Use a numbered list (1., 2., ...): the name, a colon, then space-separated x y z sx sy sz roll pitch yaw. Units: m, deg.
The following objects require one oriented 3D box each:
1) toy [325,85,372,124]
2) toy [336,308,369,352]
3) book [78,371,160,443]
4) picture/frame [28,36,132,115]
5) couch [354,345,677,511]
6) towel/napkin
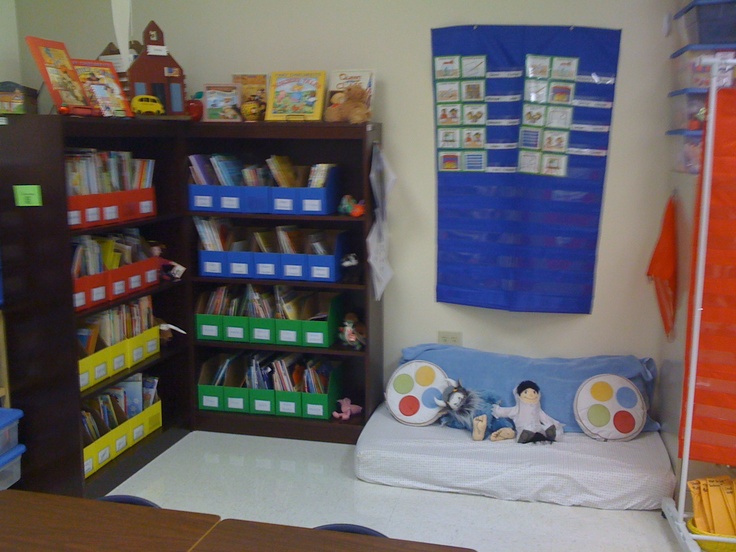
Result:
1. toy: -0.117 -1.066 3.686 0.282 0.226 0.289 0 14 0
2. toy: -0.098 0.353 3.907 0.285 0.325 0.193 0 -2 1
3. book: -1.474 0.770 3.514 0.334 0.097 0.302 -10 6 16
4. picture/frame: -1.467 -1.025 3.109 0.264 0.366 0.546 4 14 16
5. couch: 0.854 0.846 3.550 1.748 0.576 0.859 2 14 9
6. towel/napkin: 1.737 -0.060 3.492 0.140 0.804 0.305 4 14 16
